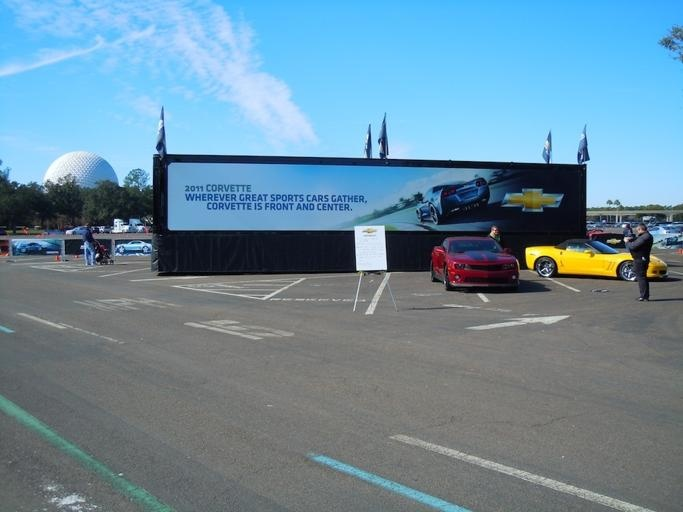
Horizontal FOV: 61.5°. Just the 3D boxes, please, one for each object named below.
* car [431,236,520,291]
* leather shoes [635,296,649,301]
[{"bbox_3d":[4.215,0.284,18.484,2.048,1.657,2.676,-1,4,-8],"label":"car"},{"bbox_3d":[7.992,1.170,15.339,0.102,0.106,0.235,-7,1,-44],"label":"leather shoes"}]
